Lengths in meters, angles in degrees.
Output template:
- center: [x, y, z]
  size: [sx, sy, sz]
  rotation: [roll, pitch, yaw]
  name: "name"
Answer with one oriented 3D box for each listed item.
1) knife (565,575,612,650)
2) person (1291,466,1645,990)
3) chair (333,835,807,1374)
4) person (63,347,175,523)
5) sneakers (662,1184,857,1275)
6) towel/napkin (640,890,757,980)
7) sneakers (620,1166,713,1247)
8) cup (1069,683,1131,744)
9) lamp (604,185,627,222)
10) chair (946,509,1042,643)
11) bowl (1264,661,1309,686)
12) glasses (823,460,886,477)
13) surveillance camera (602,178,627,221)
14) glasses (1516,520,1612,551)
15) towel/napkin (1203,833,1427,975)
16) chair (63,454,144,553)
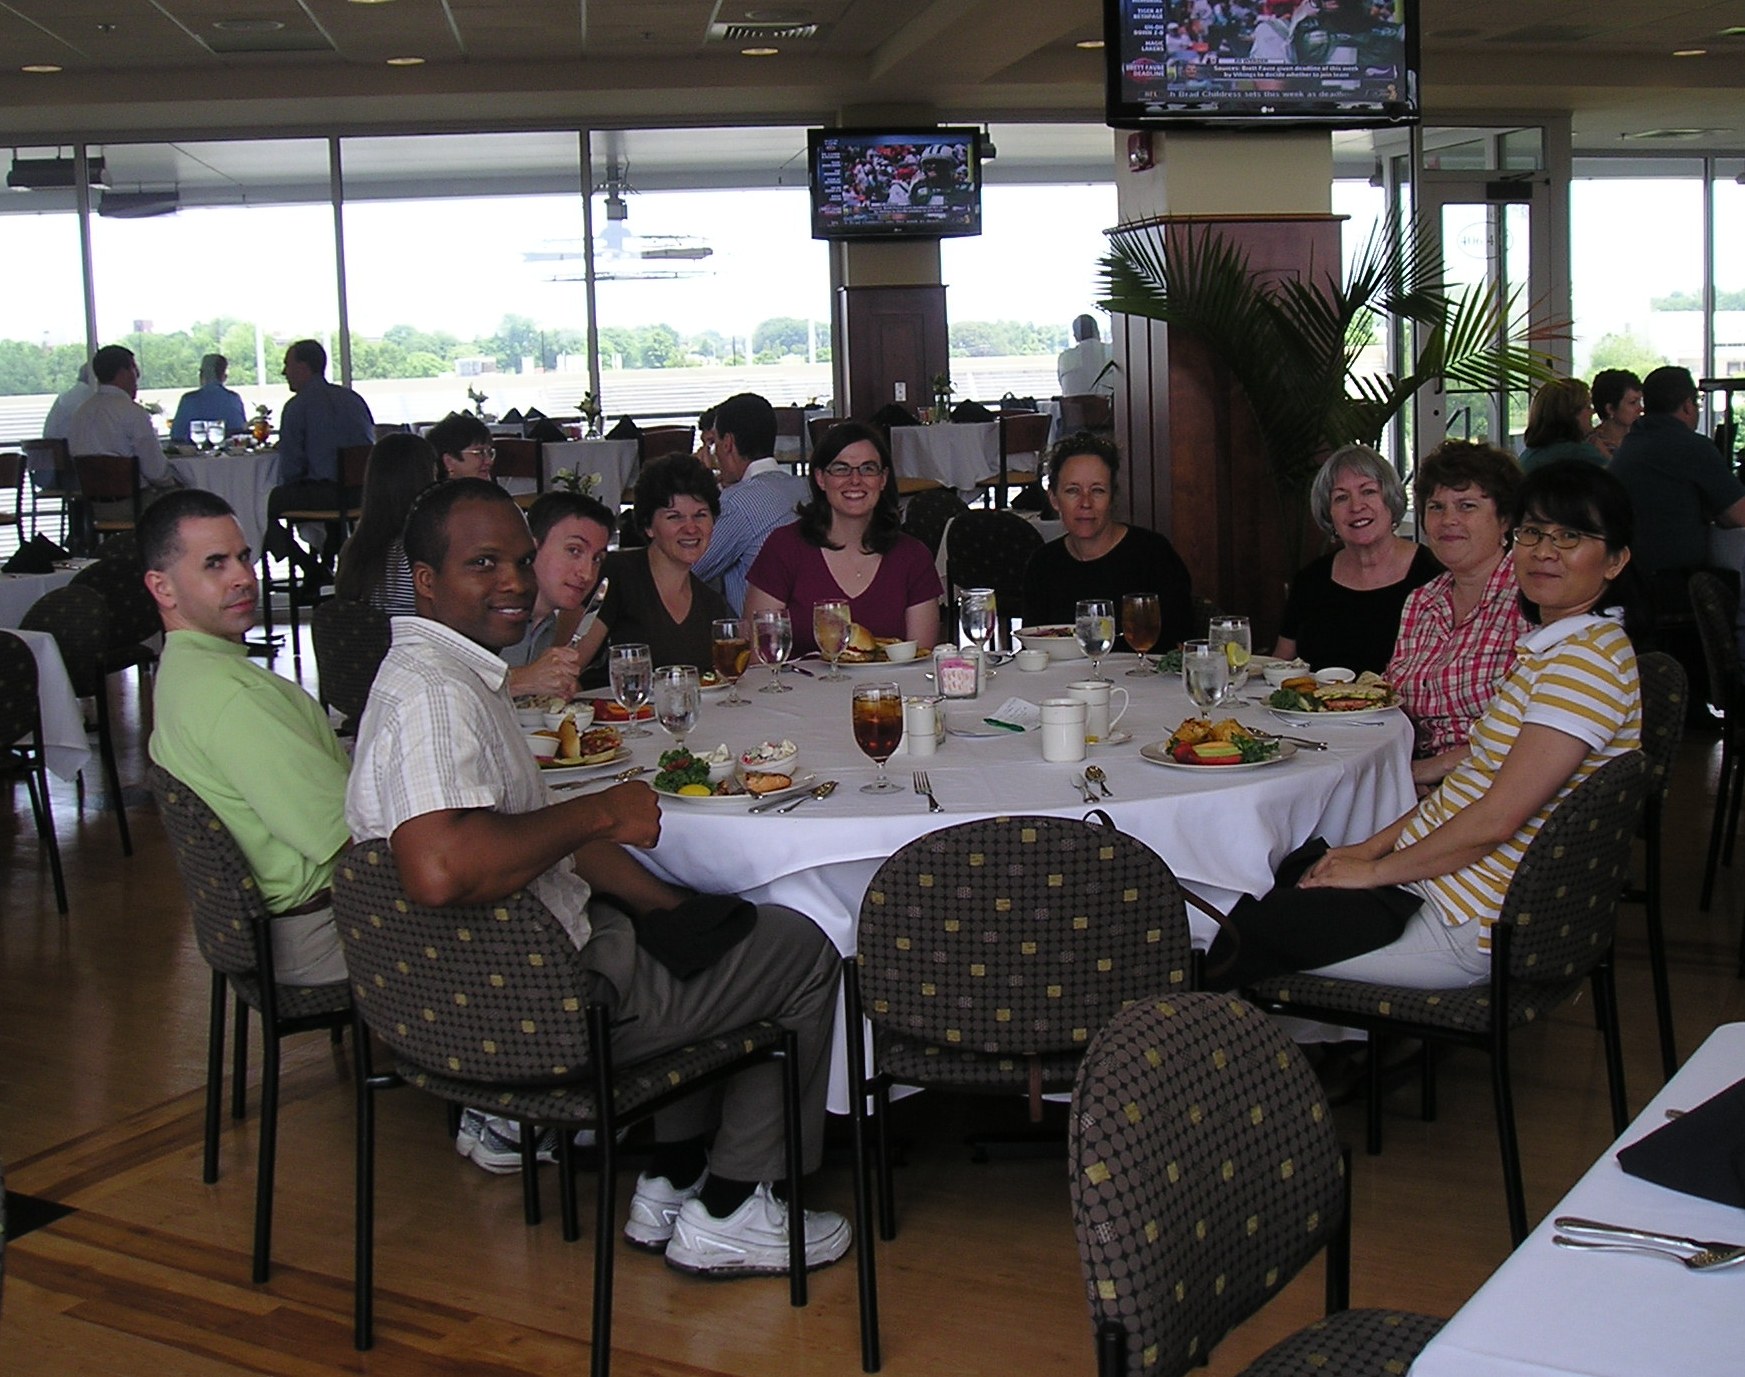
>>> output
- center: [-0.681, -0.160, 3.549]
  size: [0.053, 0.265, 0.038]
  rotation: [32, -33, -17]
  name: "knife"
- center: [1.027, 0.067, 2.510]
  size: [0.576, 0.916, 0.455]
  rotation: [11, -7, -7]
  name: "person"
- center: [-0.457, 0.586, 2.148]
  size: [0.724, 0.841, 0.387]
  rotation: [-3, 12, -3]
  name: "chair"
- center: [-4.194, -1.504, 8.177]
  size: [0.697, 0.802, 0.455]
  rotation: [13, 21, 26]
  name: "person"
- center: [-0.186, 0.872, 2.426]
  size: [0.297, 0.134, 0.124]
  rotation: [-1, -1, -11]
  name: "sneakers"
- center: [-0.271, 0.362, 2.196]
  size: [0.134, 0.047, 0.128]
  rotation: [19, 39, 38]
  name: "towel/napkin"
- center: [-0.347, 0.880, 2.518]
  size: [0.077, 0.094, 0.205]
  rotation: [2, 1, 16]
  name: "sneakers"
- center: [0.450, 0.038, 2.701]
  size: [0.089, 0.127, 0.134]
  rotation: [-2, -1, 36]
  name: "cup"
- center: [-1.901, -3.581, 10.785]
  size: [0.146, 0.063, 0.261]
  rotation: [-2, 39, -11]
  name: "lamp"
- center: [0.420, -0.411, 5.248]
  size: [0.373, 0.631, 0.386]
  rotation: [5, 21, 8]
  name: "chair"
- center: [0.906, -0.036, 3.186]
  size: [0.062, 0.028, 0.062]
  rotation: [-2, 5, 0]
  name: "bowl"
- center: [-0.049, -0.557, 3.714]
  size: [0.151, 0.062, 0.066]
  rotation: [-4, 12, -11]
  name: "glasses"
- center: [-1.902, -3.606, 10.774]
  size: [0.152, 0.269, 0.063]
  rotation: [-2, -32, -7]
  name: "surveillance camera"
- center: [1.111, -0.245, 2.367]
  size: [0.128, 0.048, 0.039]
  rotation: [3, 13, 23]
  name: "glasses"
- center: [0.743, 0.354, 2.438]
  size: [0.259, 0.098, 0.197]
  rotation: [-7, 13, 3]
  name: "towel/napkin"
- center: [-4.068, -1.003, 7.787]
  size: [0.352, 0.467, 0.827]
  rotation: [-8, 13, -27]
  name: "chair"
